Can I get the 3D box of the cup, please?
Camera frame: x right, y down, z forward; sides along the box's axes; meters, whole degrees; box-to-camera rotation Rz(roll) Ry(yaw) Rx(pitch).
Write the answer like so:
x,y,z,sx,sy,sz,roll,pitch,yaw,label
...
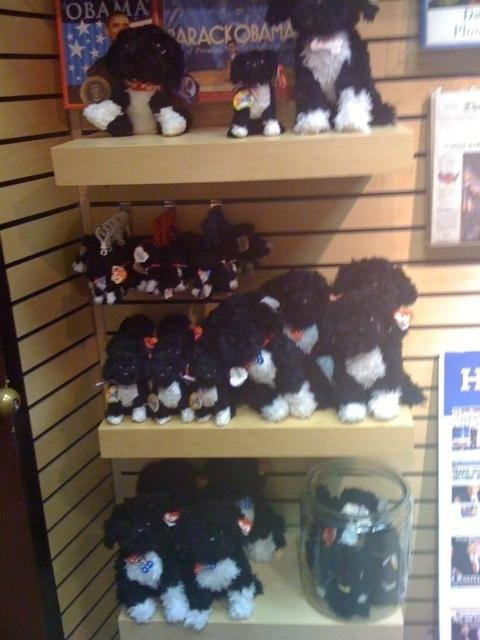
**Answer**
x,y,z,sx,sy,sz,roll,pitch,yaw,label
0.216,0.475,1.289,0.257,0.344,0.299,-1,9,0,cup
